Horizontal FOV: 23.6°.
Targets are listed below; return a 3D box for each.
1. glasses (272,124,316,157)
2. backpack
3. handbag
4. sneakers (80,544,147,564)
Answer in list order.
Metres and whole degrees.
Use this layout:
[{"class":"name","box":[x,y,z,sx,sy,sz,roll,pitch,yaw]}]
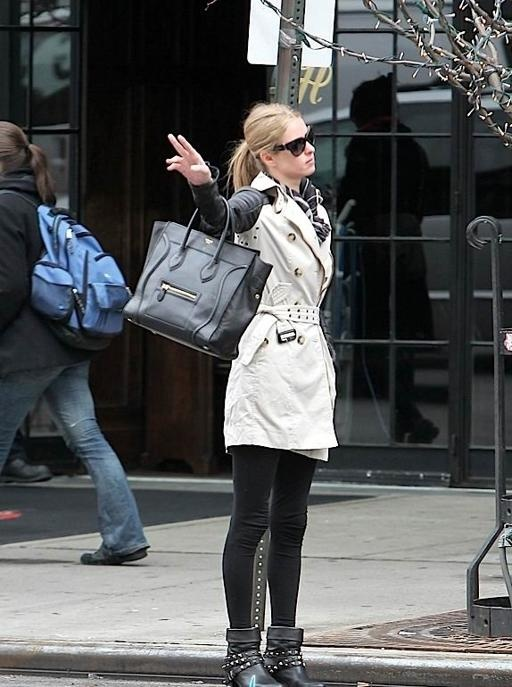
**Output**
[{"class":"glasses","box":[0.124,-0.599,3.701,0.120,0.036,0.103,-19,0,36]},{"class":"backpack","box":[-0.798,-0.283,5.470,0.486,0.651,0.264,0,6,-26]},{"class":"handbag","box":[-0.179,-0.178,3.484,0.376,0.400,0.171,5,6,27]},{"class":"sneakers","box":[-0.700,1.016,5.772,0.336,0.118,0.108,-4,1,8]}]
